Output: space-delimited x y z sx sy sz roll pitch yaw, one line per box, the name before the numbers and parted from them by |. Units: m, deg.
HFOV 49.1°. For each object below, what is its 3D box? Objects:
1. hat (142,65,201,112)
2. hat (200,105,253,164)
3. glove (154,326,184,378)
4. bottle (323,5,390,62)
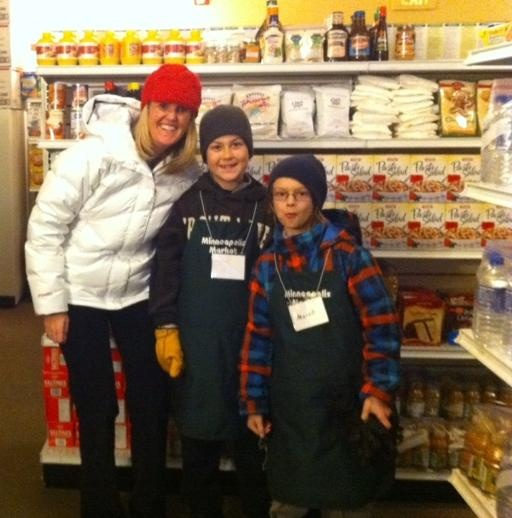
hat | -0.347 -0.689 2.259 0.267 0.189 0.256 1 3 7
hat | -0.129 -0.514 2.250 0.211 0.204 0.256 -10 7 -11
glove | -0.345 0.357 2.230 0.115 0.190 0.215 -3 3 -21
bottle | 0.519 -1.173 2.910 0.331 0.300 0.213 1 12 3
